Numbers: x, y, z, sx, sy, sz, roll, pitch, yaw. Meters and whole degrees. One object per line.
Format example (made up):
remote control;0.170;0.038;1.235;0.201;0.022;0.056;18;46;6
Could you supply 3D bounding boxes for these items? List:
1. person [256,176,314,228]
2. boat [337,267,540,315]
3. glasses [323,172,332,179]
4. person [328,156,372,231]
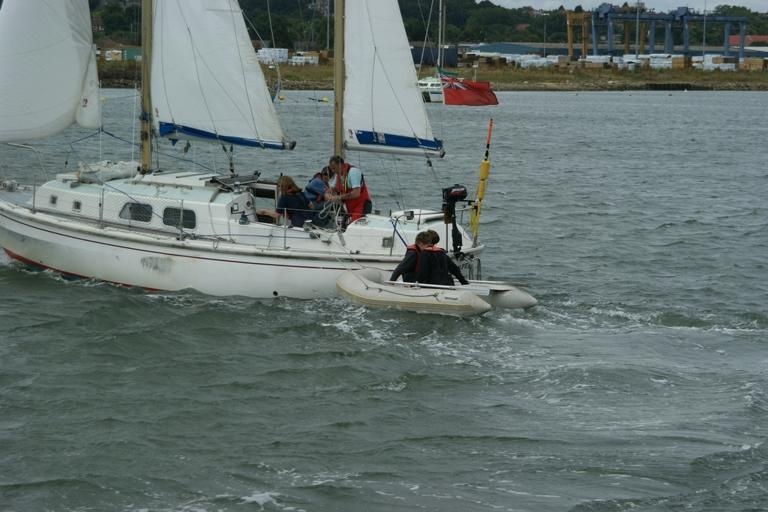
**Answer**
person;-2.238;-1.308;34.043;1.420;1.159;0.780;7;15;37
boat;0.838;0.889;32.828;3.133;0.461;1.698;3;4;13
glasses;-1.339;-1.948;34.409;0.128;0.126;0.151;-28;60;-31
person;-0.825;-1.580;33.908;0.996;1.657;0.869;-1;13;6
